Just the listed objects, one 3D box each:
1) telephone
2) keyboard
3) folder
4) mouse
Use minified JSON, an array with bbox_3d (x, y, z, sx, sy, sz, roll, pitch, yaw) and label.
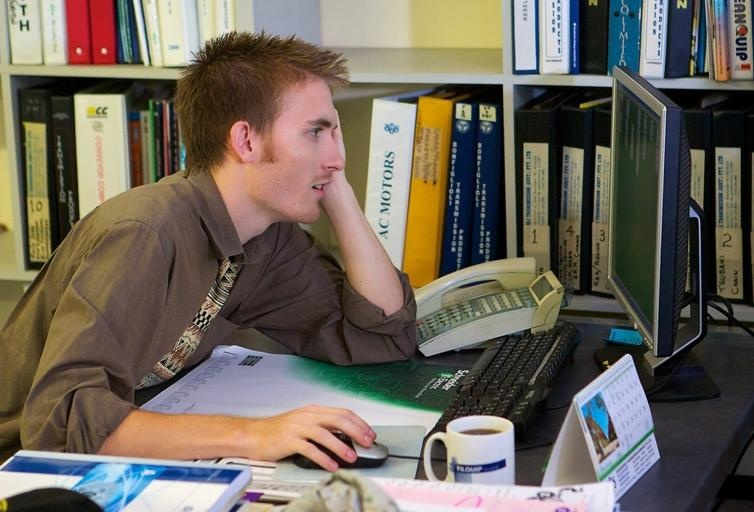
[{"bbox_3d":[0.275,0.124,1.612,0.371,0.177,0.232,-9,15,6],"label":"telephone"},{"bbox_3d":[0.318,0.261,1.372,0.210,0.085,0.557,-15,6,26],"label":"keyboard"},{"bbox_3d":[0.680,-0.236,1.905,0.503,0.690,0.700,2,9,8],"label":"folder"},{"bbox_3d":[-0.067,0.357,1.148,0.182,0.061,0.105,-1,-8,-4],"label":"mouse"}]
